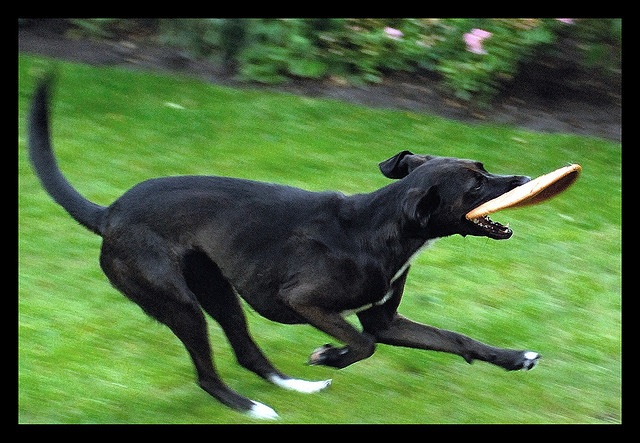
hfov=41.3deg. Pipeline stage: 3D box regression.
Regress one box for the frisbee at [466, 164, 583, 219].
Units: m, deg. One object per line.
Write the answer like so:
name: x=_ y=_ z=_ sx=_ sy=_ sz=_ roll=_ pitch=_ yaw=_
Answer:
frisbee: x=1.398 y=-0.207 z=5.625 sx=0.657 sy=0.093 sz=0.393 roll=-14 pitch=1 yaw=-4
